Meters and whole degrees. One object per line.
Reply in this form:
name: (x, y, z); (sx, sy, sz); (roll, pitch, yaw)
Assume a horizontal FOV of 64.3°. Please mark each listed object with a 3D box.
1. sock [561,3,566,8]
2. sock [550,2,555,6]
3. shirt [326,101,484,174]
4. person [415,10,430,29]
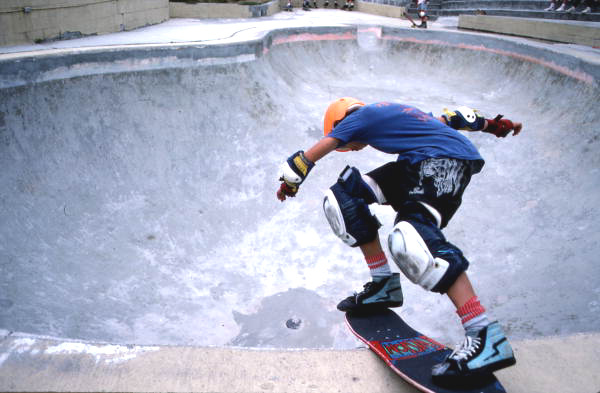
sock: (8.192, -5.931, 14.831); (0.105, 0.119, 0.153); (10, 28, 15)
sock: (8.085, -6.142, 15.255); (0.110, 0.101, 0.111); (3, 5, 27)
shirt: (1.168, -0.658, 5.277); (1.629, 0.635, 0.484); (8, 28, 12)
person: (4.066, -5.839, 15.754); (0.397, 0.513, 1.246); (8, 26, 10)
